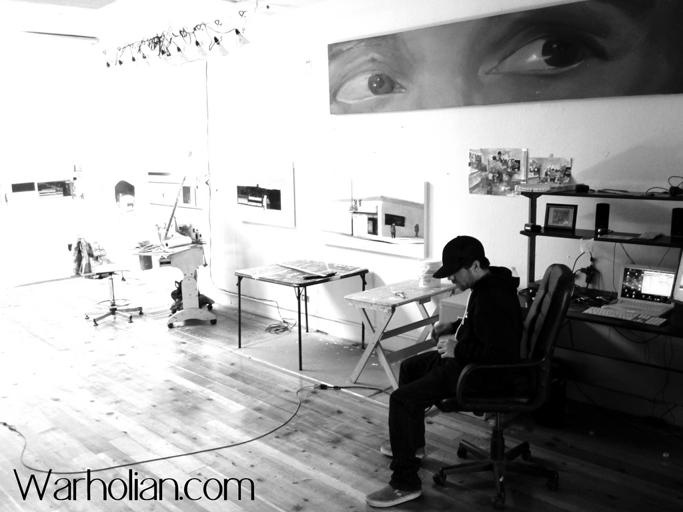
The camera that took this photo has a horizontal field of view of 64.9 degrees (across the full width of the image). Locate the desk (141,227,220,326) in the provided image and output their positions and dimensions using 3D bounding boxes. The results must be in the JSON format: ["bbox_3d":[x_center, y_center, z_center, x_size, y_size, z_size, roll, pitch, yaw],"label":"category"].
[{"bbox_3d":[-1.873,0.289,6.823,1.072,1.246,1.277,0,4,-34],"label":"desk"}]

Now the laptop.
[{"bbox_3d":[2.220,0.183,3.994,0.407,0.312,0.441,-8,12,-44],"label":"laptop"}]

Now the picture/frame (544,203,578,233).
[{"bbox_3d":[1.763,-0.306,4.335,0.242,0.233,0.026,3,-1,40],"label":"picture/frame"}]

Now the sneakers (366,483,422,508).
[{"bbox_3d":[0.330,1.479,3.362,0.316,0.116,0.122,-1,2,-14],"label":"sneakers"}]

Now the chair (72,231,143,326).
[{"bbox_3d":[-3.010,0.275,6.985,0.814,1.062,0.743,-2,3,-34],"label":"chair"}]

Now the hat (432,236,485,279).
[{"bbox_3d":[0.698,0.014,3.444,0.431,0.219,0.292,-7,-15,8],"label":"hat"}]
